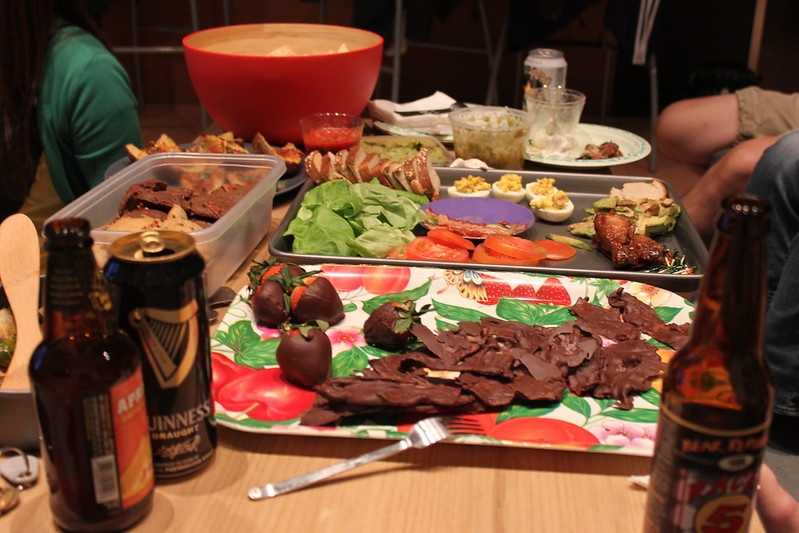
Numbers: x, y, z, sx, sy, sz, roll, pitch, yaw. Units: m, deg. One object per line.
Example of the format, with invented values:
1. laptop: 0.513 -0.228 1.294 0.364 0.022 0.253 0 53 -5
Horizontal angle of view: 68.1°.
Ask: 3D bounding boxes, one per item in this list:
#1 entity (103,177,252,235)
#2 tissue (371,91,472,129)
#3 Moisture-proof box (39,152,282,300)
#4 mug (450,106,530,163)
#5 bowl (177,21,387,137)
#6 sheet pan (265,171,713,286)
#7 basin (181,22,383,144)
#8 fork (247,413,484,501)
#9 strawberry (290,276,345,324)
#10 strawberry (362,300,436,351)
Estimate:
1. entity: -0.557 -0.149 1.480 0.246 0.064 0.198 5 24 7
2. tissue: 0.089 -0.661 2.544 0.291 0.095 0.284 -3 18 -28
3. Moisture-proof box: -0.541 -0.206 1.486 0.439 0.186 0.515 9 28 15
4. mug: 0.320 -0.481 2.155 0.283 0.169 0.224 2 24 3
5. bowl: -0.413 -0.696 2.261 0.632 0.425 0.519 7 24 17
6. sheet pan: 0.289 -0.090 1.648 1.001 0.101 0.537 5 26 11
7. basin: -0.443 -0.633 2.244 0.647 0.295 0.610 0 12 0
8. fork: -0.053 0.328 1.019 0.322 0.024 0.039 -16 45 -12
9. strawberry: -0.187 0.064 1.319 0.095 0.093 0.094 -11 34 7
10. strawberry: -0.005 0.115 1.224 0.122 0.054 0.092 -37 69 -25
